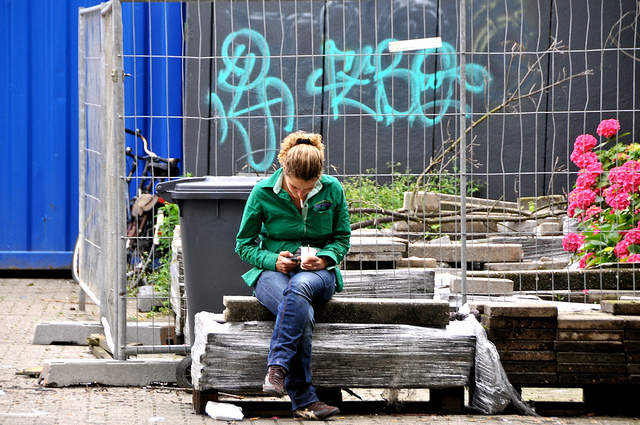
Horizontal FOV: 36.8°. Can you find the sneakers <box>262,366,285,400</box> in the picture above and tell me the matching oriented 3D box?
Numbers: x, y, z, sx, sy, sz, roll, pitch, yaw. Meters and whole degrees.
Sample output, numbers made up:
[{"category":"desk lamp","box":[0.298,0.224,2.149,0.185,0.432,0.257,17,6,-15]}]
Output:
[{"category":"sneakers","box":[-0.439,1.610,9.239,0.242,0.294,0.181,0,5,-10]}]

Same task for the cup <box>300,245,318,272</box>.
[{"category":"cup","box":[-0.139,0.441,9.475,0.201,0.203,0.199,2,-13,0]}]

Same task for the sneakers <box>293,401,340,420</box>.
[{"category":"sneakers","box":[-0.049,1.901,9.424,0.472,0.211,0.174,-7,-8,18]}]

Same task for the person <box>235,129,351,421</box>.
[{"category":"person","box":[-0.268,0.609,9.434,1.106,2.786,0.638,1,5,0]}]
